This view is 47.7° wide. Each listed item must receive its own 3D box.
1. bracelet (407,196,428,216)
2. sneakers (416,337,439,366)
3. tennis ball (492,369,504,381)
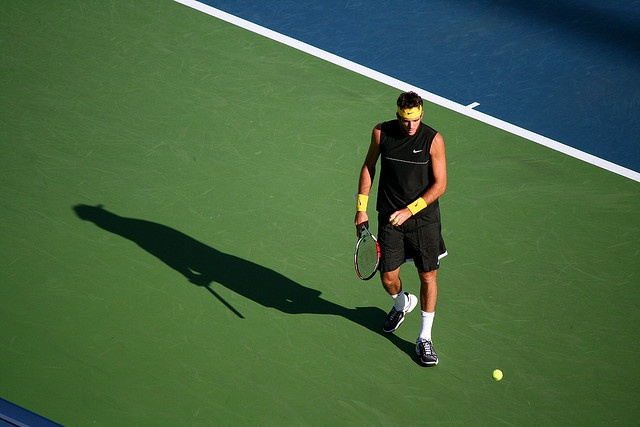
[{"bbox_3d":[1.107,-0.080,8.193,0.192,0.197,0.051,57,2,-13],"label":"bracelet"},{"bbox_3d":[1.300,1.654,8.733,0.227,0.208,0.504,-2,15,-4],"label":"sneakers"},{"bbox_3d":[2.115,1.919,8.569,0.107,0.121,0.109,7,-53,9],"label":"tennis ball"}]
